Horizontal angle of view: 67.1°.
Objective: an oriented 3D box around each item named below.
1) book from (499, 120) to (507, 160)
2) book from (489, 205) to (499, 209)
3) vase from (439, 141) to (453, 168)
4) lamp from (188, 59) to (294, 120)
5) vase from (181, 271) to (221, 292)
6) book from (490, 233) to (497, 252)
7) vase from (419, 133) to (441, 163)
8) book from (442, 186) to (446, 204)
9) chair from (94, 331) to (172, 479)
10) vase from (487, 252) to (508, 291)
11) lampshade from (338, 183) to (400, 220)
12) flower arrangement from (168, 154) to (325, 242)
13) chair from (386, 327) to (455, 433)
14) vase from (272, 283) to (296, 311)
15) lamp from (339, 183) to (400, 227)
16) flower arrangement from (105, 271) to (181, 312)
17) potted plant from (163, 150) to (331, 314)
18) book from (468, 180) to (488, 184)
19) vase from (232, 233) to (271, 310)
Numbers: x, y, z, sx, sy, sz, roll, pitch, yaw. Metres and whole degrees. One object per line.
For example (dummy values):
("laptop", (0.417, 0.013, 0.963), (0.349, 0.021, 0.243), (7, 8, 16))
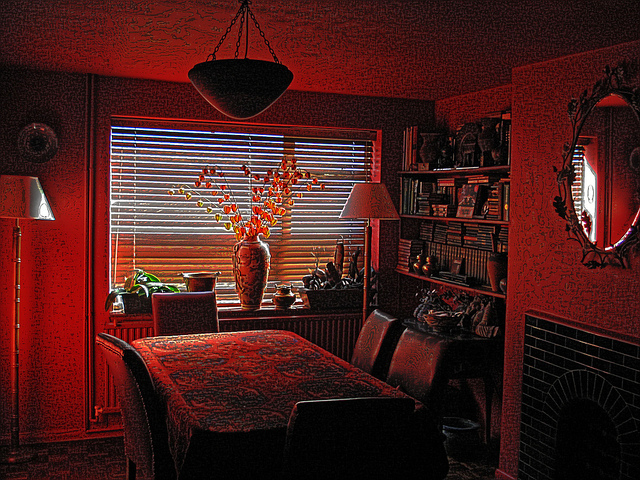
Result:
("book", (1.376, -0.749, 3.636), (0.056, 0.289, 0.071), (2, 6, 19))
("book", (1.327, -0.254, 3.703), (0.018, 0.030, 0.107), (-1, 5, -14))
("vase", (1.135, -0.769, 4.350), (0.113, 0.235, 0.057), (-1, 6, -5))
("lamp", (-0.357, -0.694, 2.357), (0.533, 0.227, 0.530), (0, 3, -4))
("vase", (-1.043, 0.330, 4.161), (0.209, 0.145, 0.189), (0, 0, -33))
("book", (1.346, 0.018, 3.770), (0.018, 0.146, 0.062), (-4, 7, -33))
("vase", (1.026, -0.855, 4.490), (0.221, 0.268, 0.225), (3, 13, 30))
("book", (1.124, -0.419, 4.380), (0.028, 0.117, 0.107), (1, -2, 6))
("chair", (-0.871, 0.805, 2.293), (0.244, 0.669, 0.469), (-3, 6, -31))
("vase", (1.366, 0.238, 3.681), (0.183, 0.294, 0.179), (-2, 4, -11))
("lampshade", (0.414, -0.303, 4.080), (0.375, 0.202, 0.335), (1, 2, 25))
("flower arrangement", (-0.657, -0.207, 4.583), (0.896, 0.499, 0.851), (-8, -23, 1))
("chair", (0.619, 0.840, 2.841), (0.307, 0.576, 0.538), (-2, 6, -22))
("vase", (-0.381, 0.535, 4.505), (0.222, 0.259, 0.218), (2, -6, -19))
("lamp", (0.438, -0.286, 4.234), (0.506, 0.424, 0.505), (0, 1, 42))
("flower arrangement", (-1.608, 0.409, 4.045), (0.425, 0.213, 0.384), (1, 17, -40))
("potted plant", (-0.679, 0.038, 4.521), (1.275, 1.172, 1.300), (3, -10, -38))
("book", (1.291, -0.478, 3.976), (0.027, 0.030, 0.216), (-2, 6, -21))
("vase", (-0.614, 0.291, 4.322), (0.311, 0.672, 0.189), (-1, 6, -12))
